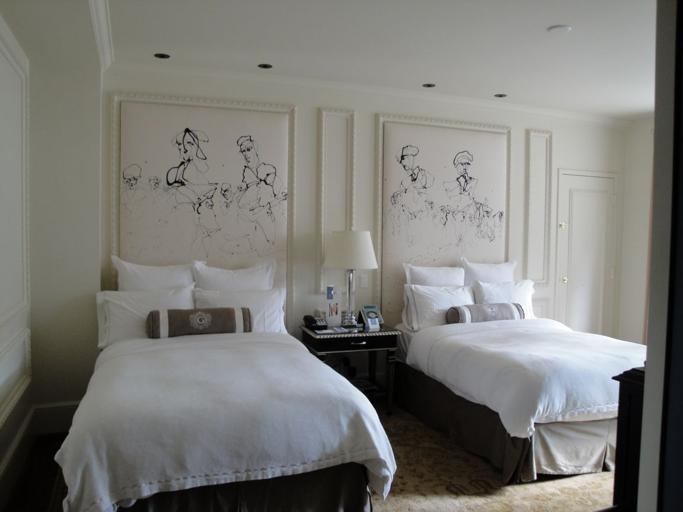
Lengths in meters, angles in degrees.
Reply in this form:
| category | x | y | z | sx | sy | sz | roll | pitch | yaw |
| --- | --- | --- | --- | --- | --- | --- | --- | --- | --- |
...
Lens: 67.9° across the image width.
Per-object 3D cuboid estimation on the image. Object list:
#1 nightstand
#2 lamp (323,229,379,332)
| category | x | y | z | sx | sy | sz | roll | pitch | yaw |
| --- | --- | --- | --- | --- | --- | --- | --- | --- | --- |
| nightstand | 0.090 | 1.045 | 4.959 | 0.740 | 0.878 | 0.663 | -3 | 10 | -16 |
| lamp | 0.076 | 0.177 | 4.981 | 0.485 | 0.896 | 0.445 | 1 | 10 | -2 |
